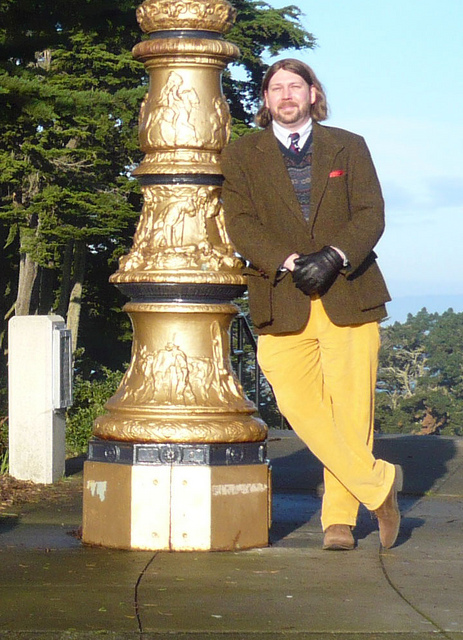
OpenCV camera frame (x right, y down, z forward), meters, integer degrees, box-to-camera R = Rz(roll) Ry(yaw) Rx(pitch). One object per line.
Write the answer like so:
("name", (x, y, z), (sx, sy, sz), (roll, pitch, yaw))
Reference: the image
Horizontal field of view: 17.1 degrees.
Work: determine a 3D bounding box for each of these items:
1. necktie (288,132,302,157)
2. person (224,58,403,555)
("necktie", (0.273, -0.756, 6.659), (0.058, 0.089, 0.025), (-20, -8, -2))
("person", (0.408, -0.051, 6.690), (0.714, 2.132, 0.673), (0, 1, -40))
